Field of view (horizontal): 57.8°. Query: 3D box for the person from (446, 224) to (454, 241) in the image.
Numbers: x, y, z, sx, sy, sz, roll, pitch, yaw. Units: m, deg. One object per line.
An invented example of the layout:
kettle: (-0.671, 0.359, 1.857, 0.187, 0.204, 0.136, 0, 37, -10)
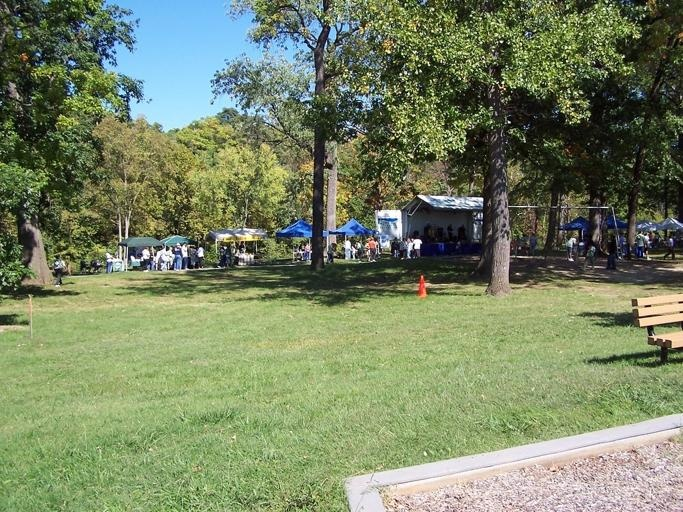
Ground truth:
person: (7.843, -1.720, 44.771, 0.455, 0.861, 0.819, 0, 0, 7)

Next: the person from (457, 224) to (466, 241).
person: (8.662, -1.710, 44.866, 0.601, 0.833, 1.360, 0, -1, 9)
